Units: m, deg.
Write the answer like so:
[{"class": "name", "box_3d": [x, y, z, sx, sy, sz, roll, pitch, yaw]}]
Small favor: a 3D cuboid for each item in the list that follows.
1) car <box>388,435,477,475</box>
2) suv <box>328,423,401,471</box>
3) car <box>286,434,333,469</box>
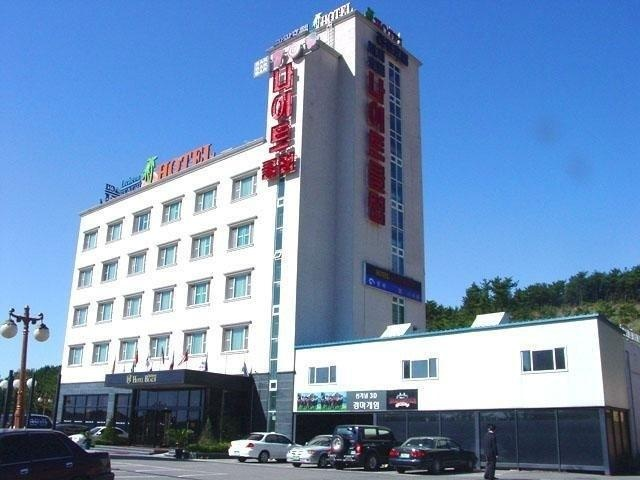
[{"class": "car", "box_3d": [6.164, 11.543, 30.634, 4.540, 1.822, 1.396, 10, -23, -28]}, {"class": "suv", "box_3d": [2.391, 11.481, 31.485, 3.347, 2.290, 1.195, 9, -22, -26]}, {"class": "car", "box_3d": [-0.328, 12.308, 33.200, 1.313, 1.062, 3.103, -9, -24, 23]}]
